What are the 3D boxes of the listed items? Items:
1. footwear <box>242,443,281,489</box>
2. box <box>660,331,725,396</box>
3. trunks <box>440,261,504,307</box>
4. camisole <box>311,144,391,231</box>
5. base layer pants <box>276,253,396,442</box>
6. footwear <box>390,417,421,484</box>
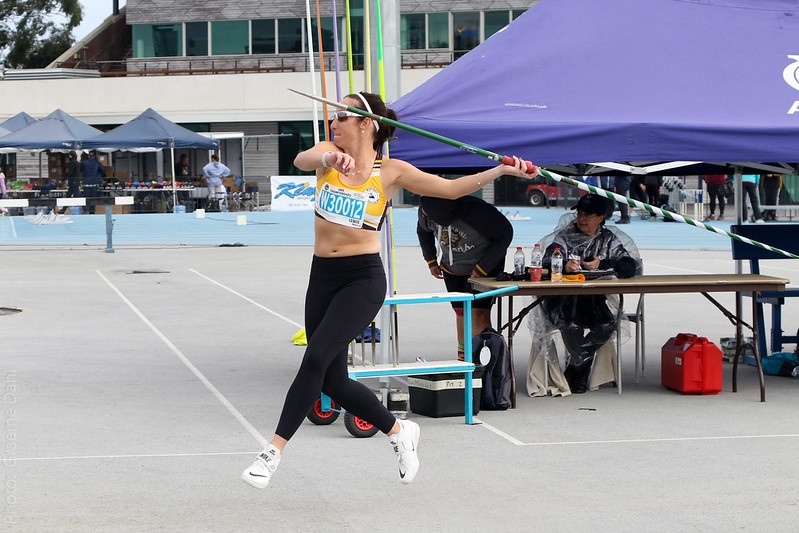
[{"bbox_3d":[-0.919,1.333,6.414,0.148,0.270,0.244,3,6,40],"label":"footwear"},{"bbox_3d":[2.856,0.948,9.439,0.446,0.520,0.562,1,-1,-5],"label":"box"},{"bbox_3d":[0.682,0.160,9.016,0.465,0.722,0.233,0,-1,11],"label":"trunks"},{"bbox_3d":[-0.349,-0.545,6.858,0.559,0.510,0.315,9,3,16],"label":"camisole"},{"bbox_3d":[-0.451,0.550,6.689,0.832,1.250,0.366,-1,5,-8],"label":"base layer pants"},{"bbox_3d":[0.045,1.326,6.742,0.178,0.142,0.411,13,40,-5],"label":"footwear"}]
